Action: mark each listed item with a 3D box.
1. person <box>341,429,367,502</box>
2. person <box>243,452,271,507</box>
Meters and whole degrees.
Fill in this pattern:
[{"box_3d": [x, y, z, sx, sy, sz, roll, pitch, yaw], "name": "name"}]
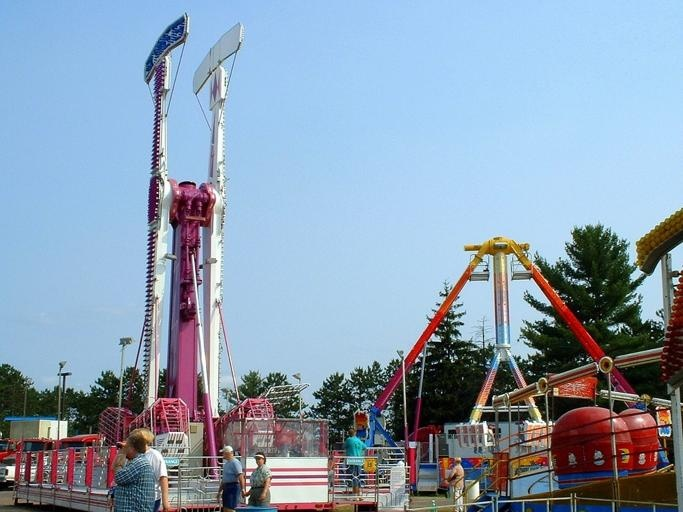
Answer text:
[{"box_3d": [0.479, 6.745, 31.686, 0.685, 2.304, 1.306, -1, -15, 1], "name": "person"}, {"box_3d": [-2.119, 5.670, 24.732, 0.629, 1.294, 0.618, -4, -15, 10], "name": "person"}]
